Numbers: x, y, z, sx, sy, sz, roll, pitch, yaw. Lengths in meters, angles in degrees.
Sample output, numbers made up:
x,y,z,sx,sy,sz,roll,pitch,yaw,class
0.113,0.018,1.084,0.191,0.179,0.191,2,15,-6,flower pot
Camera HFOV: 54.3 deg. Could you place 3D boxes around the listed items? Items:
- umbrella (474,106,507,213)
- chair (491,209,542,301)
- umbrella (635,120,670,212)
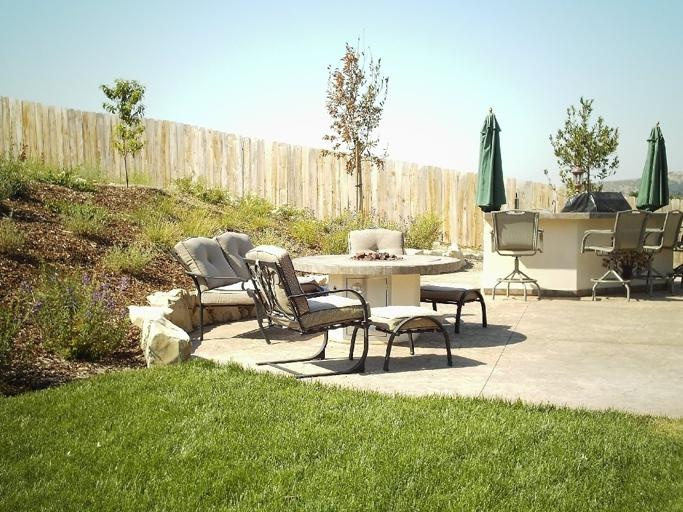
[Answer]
x,y,z,sx,sy,sz,roll,pitch,yaw,class
2.430,-1.556,10.712,0.446,1.544,0.376,3,14,12,umbrella
2.654,-0.018,10.090,0.716,1.395,0.756,3,10,32,chair
5.511,-1.533,11.659,0.507,1.603,0.787,6,15,24,umbrella
